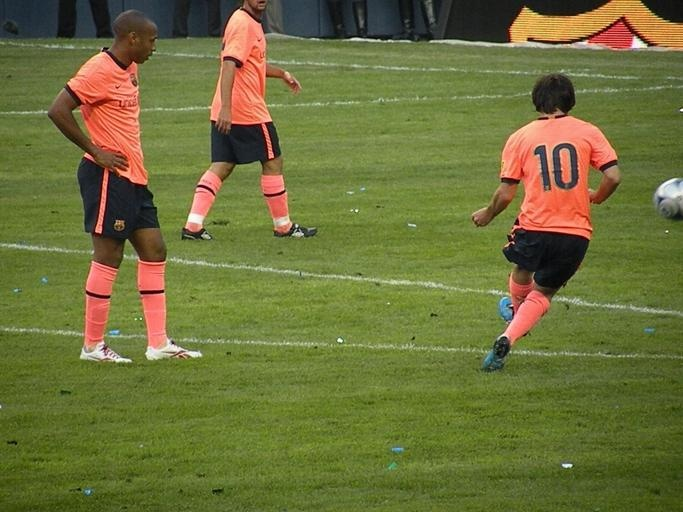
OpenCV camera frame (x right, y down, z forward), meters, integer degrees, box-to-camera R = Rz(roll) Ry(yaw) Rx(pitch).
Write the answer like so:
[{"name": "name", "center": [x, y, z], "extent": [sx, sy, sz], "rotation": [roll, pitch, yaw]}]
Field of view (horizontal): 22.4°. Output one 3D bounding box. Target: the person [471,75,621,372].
[{"name": "person", "center": [2.134, -0.334, 17.734], "extent": [1.291, 2.974, 0.923], "rotation": [1, 16, -11]}]

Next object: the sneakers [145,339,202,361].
[{"name": "sneakers", "center": [-1.771, 1.002, 18.098], "extent": [0.692, 0.213, 0.205], "rotation": [-1, 0, -8]}]

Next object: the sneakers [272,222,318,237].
[{"name": "sneakers", "center": [-0.565, -0.313, 21.429], "extent": [0.567, 0.181, 0.178], "rotation": [-1, 4, -2]}]

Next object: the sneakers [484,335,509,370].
[{"name": "sneakers", "center": [1.599, 0.984, 17.677], "extent": [0.264, 0.400, 0.282], "rotation": [5, 15, 4]}]

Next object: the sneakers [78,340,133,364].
[{"name": "sneakers", "center": [-2.470, 1.022, 18.002], "extent": [0.634, 0.192, 0.194], "rotation": [2, 1, -3]}]

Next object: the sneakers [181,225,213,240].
[{"name": "sneakers", "center": [-1.787, -0.262, 21.281], "extent": [0.444, 0.145, 0.135], "rotation": [0, 9, -19]}]

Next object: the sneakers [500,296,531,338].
[{"name": "sneakers", "center": [1.839, 0.620, 18.214], "extent": [0.200, 0.227, 0.577], "rotation": [-17, 21, 10]}]
